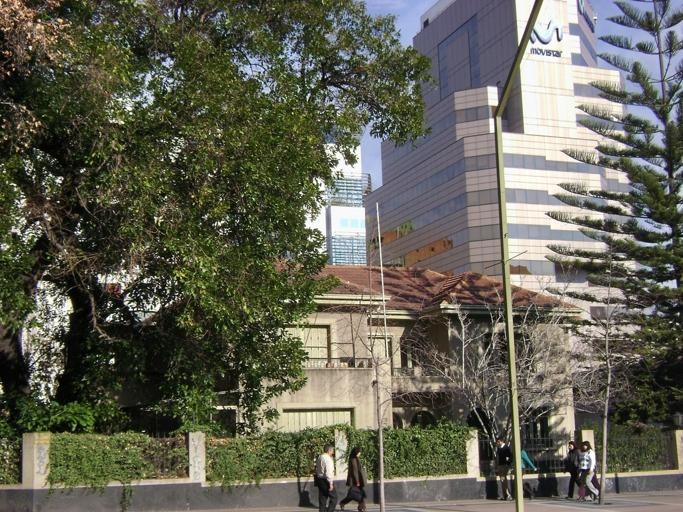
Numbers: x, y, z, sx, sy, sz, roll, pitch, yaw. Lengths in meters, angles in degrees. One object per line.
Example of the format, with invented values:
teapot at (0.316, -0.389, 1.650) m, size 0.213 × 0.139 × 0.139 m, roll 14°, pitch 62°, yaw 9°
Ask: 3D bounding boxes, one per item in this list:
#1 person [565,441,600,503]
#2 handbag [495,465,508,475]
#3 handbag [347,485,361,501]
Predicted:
person at (8.551, 7.706, 31.736) m, size 0.973 × 2.060 × 0.897 m, roll 13°, pitch -33°, yaw -9°
handbag at (5.743, 7.615, 31.825) m, size 0.342 × 0.409 × 0.365 m, roll 0°, pitch -11°, yaw -2°
handbag at (0.409, 7.428, 28.117) m, size 0.467 × 0.557 × 0.381 m, roll 5°, pitch 1°, yaw -10°
